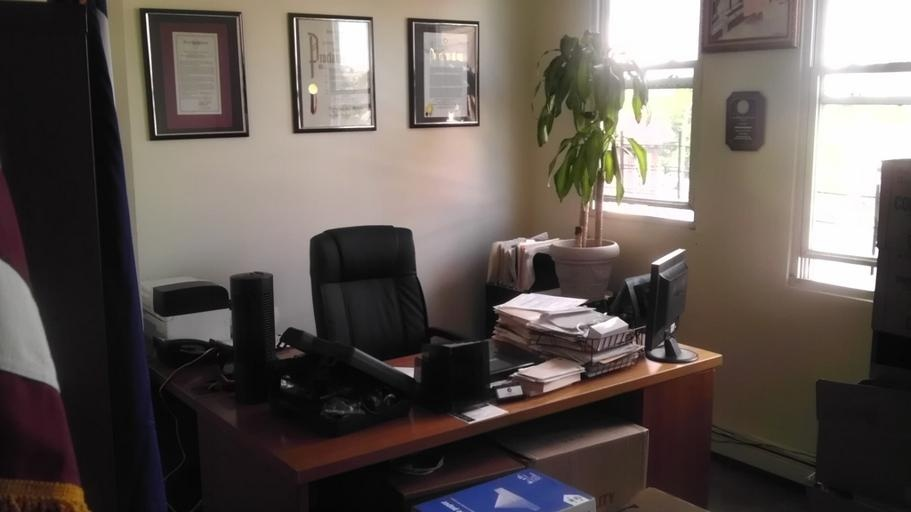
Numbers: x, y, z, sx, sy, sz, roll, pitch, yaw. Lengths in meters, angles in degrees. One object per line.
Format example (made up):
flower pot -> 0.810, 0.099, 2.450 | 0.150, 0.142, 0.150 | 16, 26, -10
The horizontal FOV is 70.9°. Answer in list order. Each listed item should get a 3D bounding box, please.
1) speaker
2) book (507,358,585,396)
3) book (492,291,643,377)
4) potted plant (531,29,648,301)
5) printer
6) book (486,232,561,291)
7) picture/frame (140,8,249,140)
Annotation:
speaker -> -0.955, 0.396, 3.025 | 0.225, 0.606, 0.108 | -8, 16, -17
book -> 0.470, 0.588, 3.168 | 0.232, 0.070, 0.188 | -9, 10, -39
book -> 0.551, 0.340, 3.348 | 0.582, 0.183, 0.456 | 14, 16, 37
potted plant -> 1.017, -0.693, 4.824 | 0.779, 1.904, 0.857 | -2, 15, 7
printer -> -1.570, 0.249, 3.741 | 0.389, 0.356, 0.515 | 0, 3, -33
book -> 0.525, 0.037, 5.073 | 0.467, 0.204, 0.459 | -17, 12, -38
picture/frame -> -1.805, -1.255, 4.326 | 0.936, 1.043, 0.078 | -6, 11, -25
